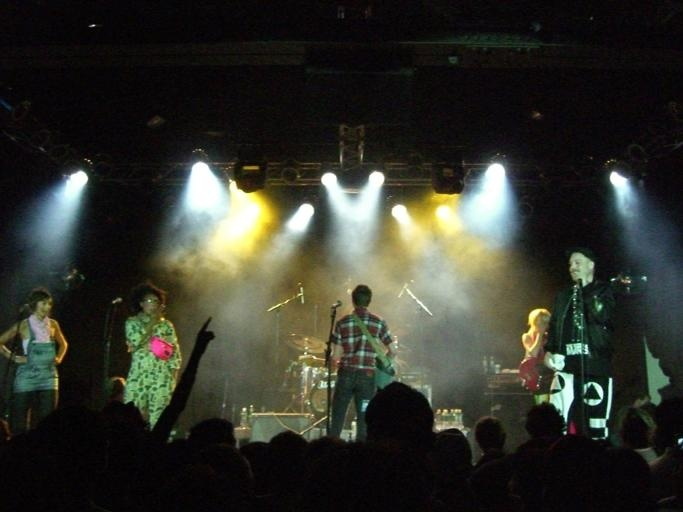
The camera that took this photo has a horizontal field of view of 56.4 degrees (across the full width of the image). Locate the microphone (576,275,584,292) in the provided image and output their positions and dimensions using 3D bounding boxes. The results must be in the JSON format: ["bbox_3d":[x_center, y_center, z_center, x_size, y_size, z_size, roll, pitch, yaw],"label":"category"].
[{"bbox_3d":[2.655,0.317,7.087,0.045,0.130,0.097,14,-34,21],"label":"microphone"}]

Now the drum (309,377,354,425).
[{"bbox_3d":[-0.191,2.383,10.666,0.899,0.738,0.882,-3,-1,18],"label":"drum"}]

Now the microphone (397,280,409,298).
[{"bbox_3d":[1.270,0.718,13.466,0.085,0.302,0.289,32,-70,-14],"label":"microphone"}]

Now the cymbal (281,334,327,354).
[{"bbox_3d":[-0.630,1.557,11.389,0.805,0.354,0.311,-3,-26,20],"label":"cymbal"}]

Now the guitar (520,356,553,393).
[{"bbox_3d":[2.837,1.728,9.314,0.527,0.489,0.256,-7,-25,43],"label":"guitar"}]

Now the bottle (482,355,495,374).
[{"bbox_3d":[2.831,2.096,12.257,0.293,0.414,0.248,3,-18,-8],"label":"bottle"}]
